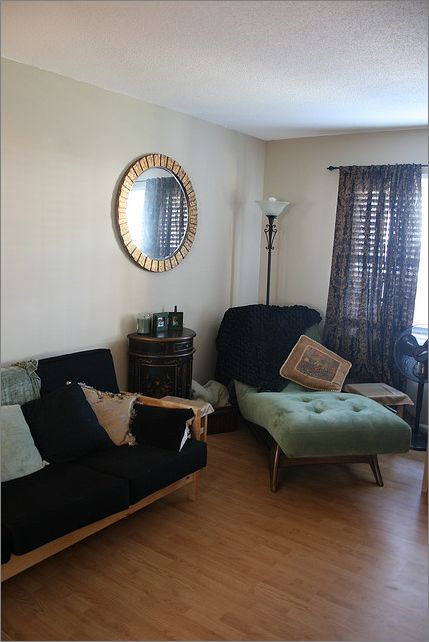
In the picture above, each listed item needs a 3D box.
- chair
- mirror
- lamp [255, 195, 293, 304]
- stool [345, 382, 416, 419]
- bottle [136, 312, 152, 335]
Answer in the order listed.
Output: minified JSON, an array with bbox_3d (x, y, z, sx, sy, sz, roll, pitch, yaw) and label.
[{"bbox_3d":[0.565,0.410,3.353,0.813,0.908,1.395,-1,6,-12],"label":"chair"},{"bbox_3d":[-0.405,-0.776,3.554,0.101,0.831,0.849,5,5,31],"label":"mirror"},{"bbox_3d":[0.517,-0.627,4.307,0.248,0.991,0.661,2,5,8],"label":"lamp"},{"bbox_3d":[1.229,0.541,3.643,0.310,0.170,0.309,1,18,-43],"label":"stool"},{"bbox_3d":[-0.487,0.017,3.454,0.123,0.207,0.129,0,7,0],"label":"bottle"}]
